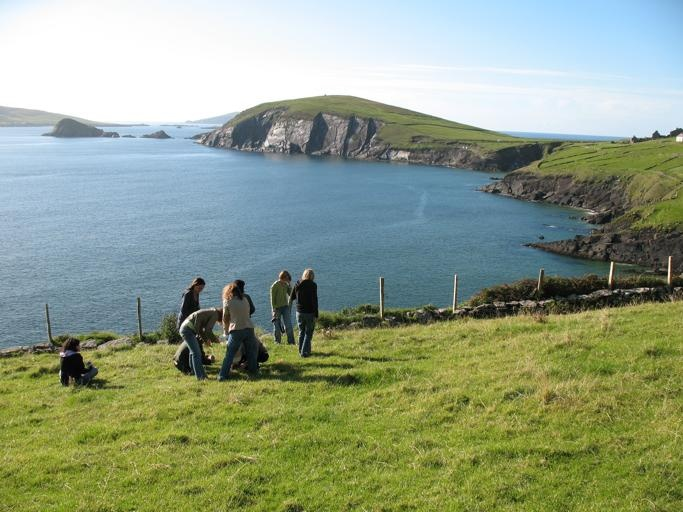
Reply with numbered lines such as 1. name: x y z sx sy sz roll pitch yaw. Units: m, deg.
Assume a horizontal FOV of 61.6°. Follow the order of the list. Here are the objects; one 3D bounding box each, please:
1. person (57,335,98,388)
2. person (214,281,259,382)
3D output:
1. person: -7.885 3.155 17.051 1.100 1.345 0.854 10 17 33
2. person: -3.014 2.198 16.571 1.150 2.692 0.863 -4 15 -16
